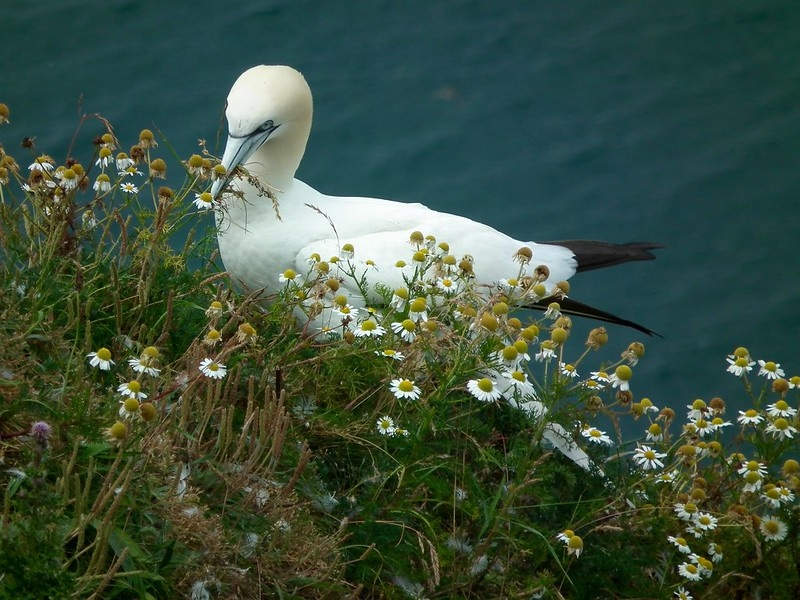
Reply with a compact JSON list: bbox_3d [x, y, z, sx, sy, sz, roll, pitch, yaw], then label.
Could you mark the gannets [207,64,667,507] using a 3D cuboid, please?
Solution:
[{"bbox_3d":[0.029,-0.172,3.262,1.727,0.975,0.584,-5,27,-31],"label":"gannets"}]
